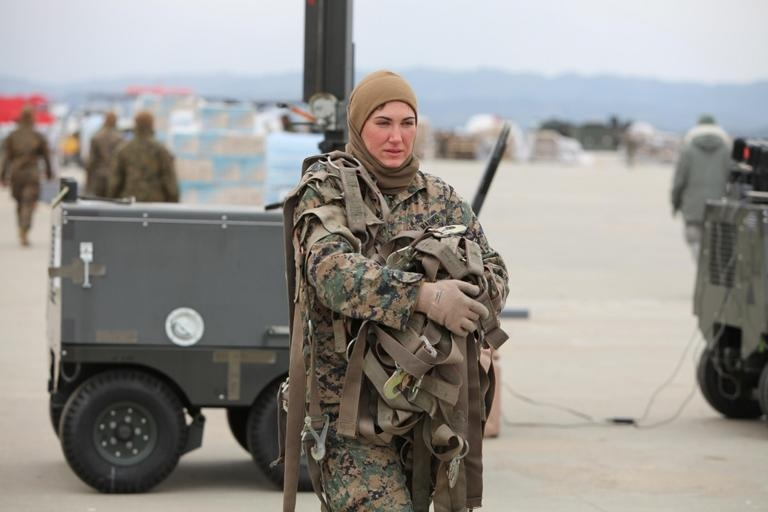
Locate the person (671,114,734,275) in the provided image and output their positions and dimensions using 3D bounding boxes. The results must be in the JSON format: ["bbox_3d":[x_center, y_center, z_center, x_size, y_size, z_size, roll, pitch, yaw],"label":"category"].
[{"bbox_3d":[2.792,-0.563,10.812,0.511,1.164,0.290,2,10,16],"label":"person"}]
